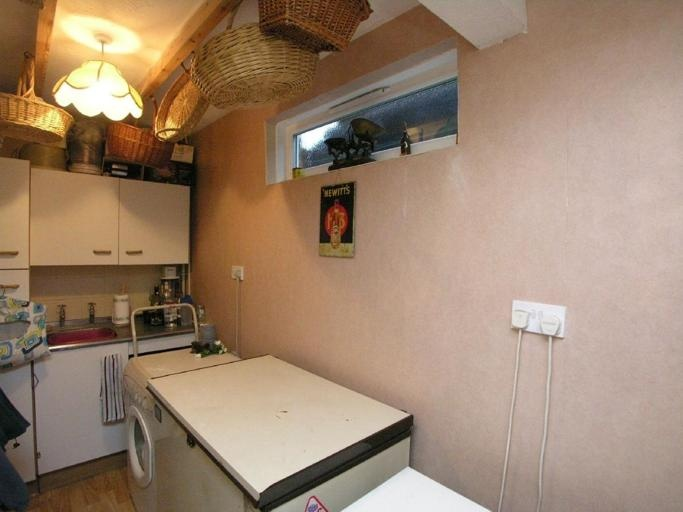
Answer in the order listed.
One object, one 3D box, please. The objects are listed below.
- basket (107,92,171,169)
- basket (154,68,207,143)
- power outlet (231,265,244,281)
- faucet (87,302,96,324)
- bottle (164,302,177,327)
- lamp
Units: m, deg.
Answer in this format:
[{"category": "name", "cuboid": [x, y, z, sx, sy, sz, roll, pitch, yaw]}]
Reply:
[{"category": "basket", "cuboid": [-1.354, -0.809, 3.405, 0.416, 0.227, 0.315, 0, 5, -44]}, {"category": "basket", "cuboid": [-0.836, -0.763, 2.795, 0.303, 0.477, 0.082, 8, -5, 40]}, {"category": "power outlet", "cuboid": [-0.717, 0.117, 3.475, 0.100, 0.098, 0.024, 1, -5, 27]}, {"category": "faucet", "cuboid": [-1.932, 0.438, 3.886, 0.060, 0.154, 0.092, -7, 14, -16]}, {"category": "bottle", "cuboid": [-1.323, 0.468, 3.895, 0.106, 0.138, 0.109, -3, 14, 1]}, {"category": "lamp", "cuboid": [-1.256, -0.895, 2.644, 0.346, 0.384, 0.353, -18, -27, 29]}]
